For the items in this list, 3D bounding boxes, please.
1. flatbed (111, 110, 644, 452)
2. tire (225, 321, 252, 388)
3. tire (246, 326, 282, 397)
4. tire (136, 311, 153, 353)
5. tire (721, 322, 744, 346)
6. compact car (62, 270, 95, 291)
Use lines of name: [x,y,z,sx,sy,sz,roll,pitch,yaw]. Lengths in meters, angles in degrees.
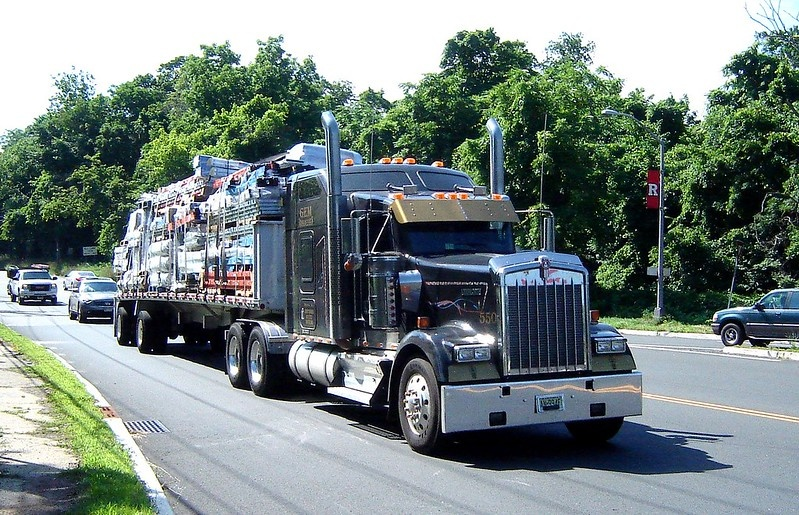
flatbed: [-2.328,0.456,18.493,4.873,6.142,16.945,0,-2,-28]
tire: [-3.642,2.217,16.424,0.497,1.536,1.500,1,0,-25]
tire: [-2.893,2.226,15.517,0.420,1.207,1.174,0,20,-30]
tire: [-7.883,2.253,22.371,0.446,1.278,1.254,0,-3,-28]
tire: [11.431,2.607,24.722,0.309,0.806,0.786,6,-6,-35]
compact car: [-21.788,1.519,48.915,1.518,1.135,3.386,1,3,-28]
